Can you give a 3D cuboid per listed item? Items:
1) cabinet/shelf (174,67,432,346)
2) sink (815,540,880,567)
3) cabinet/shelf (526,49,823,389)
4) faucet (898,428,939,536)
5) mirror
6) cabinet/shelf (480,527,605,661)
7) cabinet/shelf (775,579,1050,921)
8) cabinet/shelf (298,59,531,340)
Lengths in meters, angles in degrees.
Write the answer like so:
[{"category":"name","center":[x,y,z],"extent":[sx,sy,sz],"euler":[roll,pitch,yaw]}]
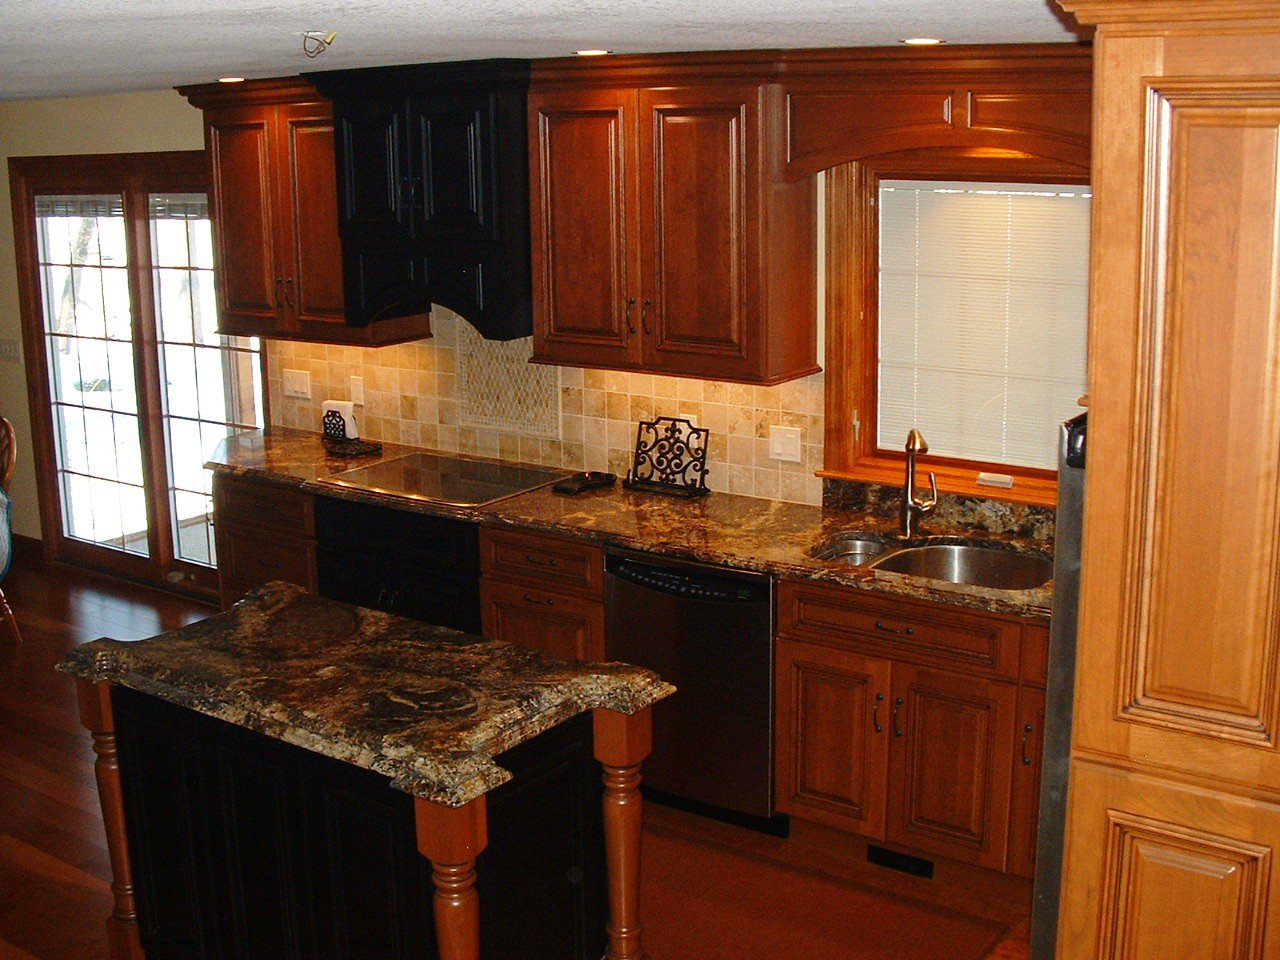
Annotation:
[{"category":"cabinet/shelf","center":[-1.462,-1.254,5.432],"extent":[1.577,1.265,0.674],"euler":[14,19,42]},{"category":"sink","center":[0.783,0.268,4.137],"extent":[0.229,0.067,0.206],"euler":[2,10,15]},{"category":"cabinet/shelf","center":[0.174,-1.029,4.271],"extent":[1.420,1.223,0.565],"euler":[5,13,27]},{"category":"faucet","center":[1.080,-0.001,4.274],"extent":[0.137,0.407,0.365],"euler":[2,11,15]},{"category":"mirror","center":[1.245,-0.575,4.118],"extent":[1.381,1.056,0.202],"euler":[15,23,33]},{"category":"cabinet/shelf","center":[-0.351,0.435,4.373],"extent":[0.580,0.455,0.373],"euler":[6,11,27]},{"category":"cabinet/shelf","center":[0.949,0.890,3.791],"extent":[1.296,0.949,0.634],"euler":[5,11,29]},{"category":"cabinet/shelf","center":[-0.926,-1.216,4.721],"extent":[1.288,1.022,0.624],"euler":[6,14,29]}]
